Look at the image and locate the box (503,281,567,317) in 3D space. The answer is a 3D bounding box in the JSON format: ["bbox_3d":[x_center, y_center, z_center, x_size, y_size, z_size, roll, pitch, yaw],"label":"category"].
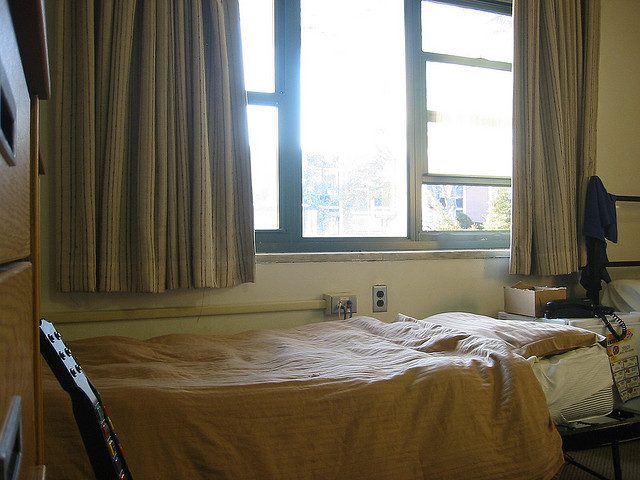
[{"bbox_3d":[1.193,0.323,2.793,0.203,0.189,0.293,-1,-3,-10],"label":"box"}]

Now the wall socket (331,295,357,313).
[{"bbox_3d":[0.132,0.345,2.668,0.173,0.103,0.035,-3,4,-37],"label":"wall socket"}]
